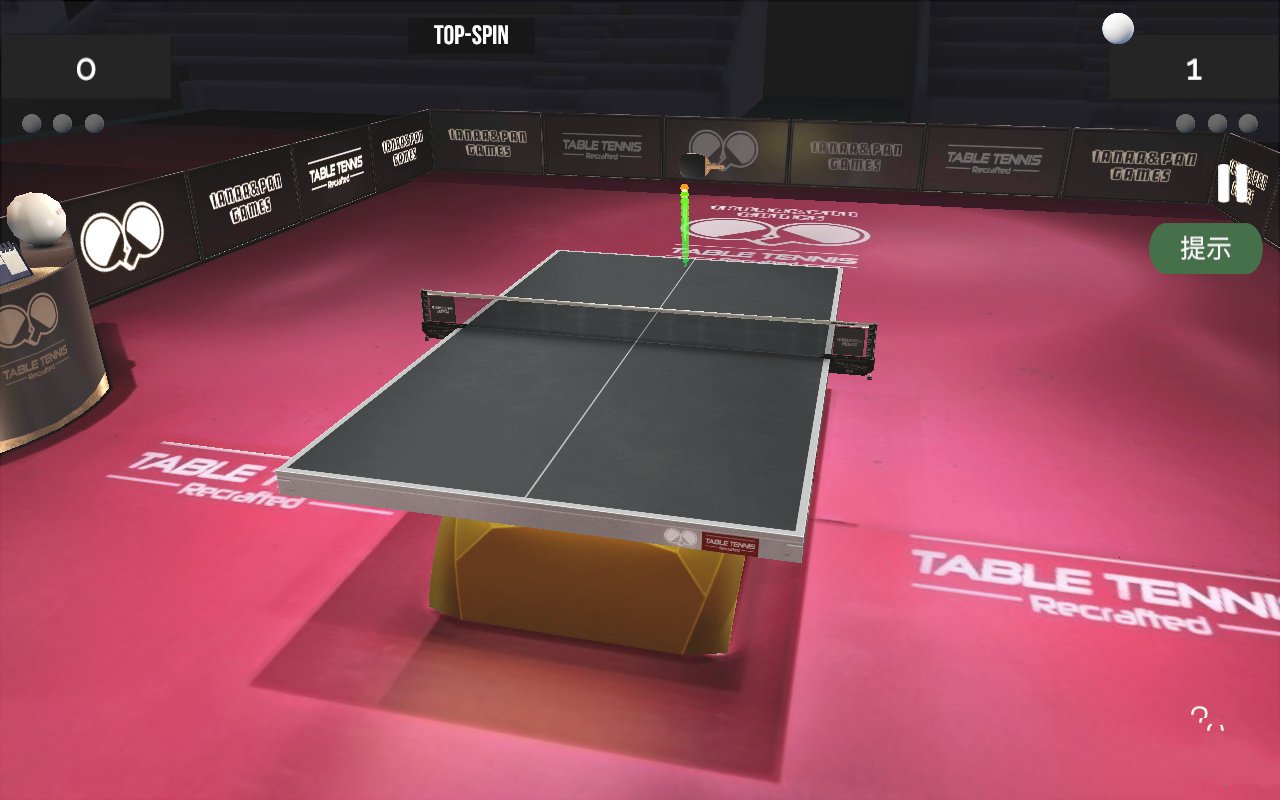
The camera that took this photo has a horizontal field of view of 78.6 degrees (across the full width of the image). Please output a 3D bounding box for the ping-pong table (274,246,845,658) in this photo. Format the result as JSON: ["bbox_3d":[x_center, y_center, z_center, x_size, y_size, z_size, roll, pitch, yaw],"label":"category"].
[{"bbox_3d":[-0.043,-0.063,7.284,3.391,1.466,4.826,7,31,13],"label":"ping-pong table"}]
